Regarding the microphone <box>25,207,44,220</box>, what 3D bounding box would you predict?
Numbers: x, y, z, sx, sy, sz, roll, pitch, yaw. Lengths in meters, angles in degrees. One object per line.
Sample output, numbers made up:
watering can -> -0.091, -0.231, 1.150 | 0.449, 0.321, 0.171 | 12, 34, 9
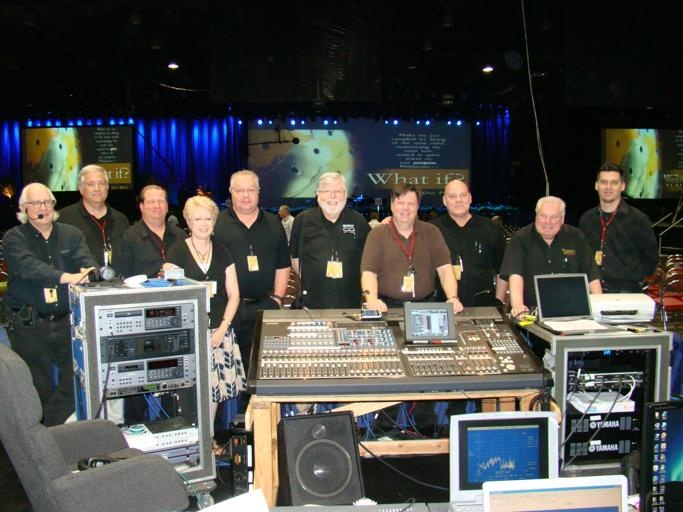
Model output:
microphone -> -2.347, -0.318, 4.539 | 0.194, 0.079, 0.068 | 3, 9, 35

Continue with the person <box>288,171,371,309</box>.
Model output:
person -> -0.105, 0.084, 4.996 | 0.681, 1.550, 0.532 | 4, 16, 10

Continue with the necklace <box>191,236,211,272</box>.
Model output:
necklace -> -1.034, -0.029, 4.411 | 0.154, 0.260, 0.059 | -1, -20, -30

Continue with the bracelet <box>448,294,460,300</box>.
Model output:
bracelet -> 0.784, 0.298, 4.185 | 0.070, 0.030, 0.131 | -2, 8, 6

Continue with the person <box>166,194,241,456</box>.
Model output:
person -> -0.989, 0.490, 4.421 | 0.484, 1.846, 0.683 | 0, 8, 16

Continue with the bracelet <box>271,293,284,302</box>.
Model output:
bracelet -> -0.528, 0.350, 4.918 | 0.079, 0.054, 0.075 | 6, -14, 29

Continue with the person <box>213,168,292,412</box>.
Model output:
person -> -0.754, 0.369, 4.993 | 0.741, 2.130, 0.698 | -4, 22, -12

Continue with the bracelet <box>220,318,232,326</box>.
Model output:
bracelet -> -0.843, 0.481, 4.360 | 0.042, 0.043, 0.043 | -1, 0, 3

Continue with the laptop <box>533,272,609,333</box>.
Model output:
laptop -> 1.469, 0.303, 3.873 | 0.417, 0.361, 0.347 | -2, 7, -11

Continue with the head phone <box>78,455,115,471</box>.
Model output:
head phone -> -1.333, 1.107, 3.211 | 0.122, 0.045, 0.122 | 4, -2, -28

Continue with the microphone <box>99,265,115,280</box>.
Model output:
microphone -> -1.588, 0.112, 4.053 | 0.091, 0.097, 0.097 | 5, 12, 15

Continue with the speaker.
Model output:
speaker -> -0.108, 1.074, 3.490 | 0.570, 0.644, 0.457 | -3, -3, -5
